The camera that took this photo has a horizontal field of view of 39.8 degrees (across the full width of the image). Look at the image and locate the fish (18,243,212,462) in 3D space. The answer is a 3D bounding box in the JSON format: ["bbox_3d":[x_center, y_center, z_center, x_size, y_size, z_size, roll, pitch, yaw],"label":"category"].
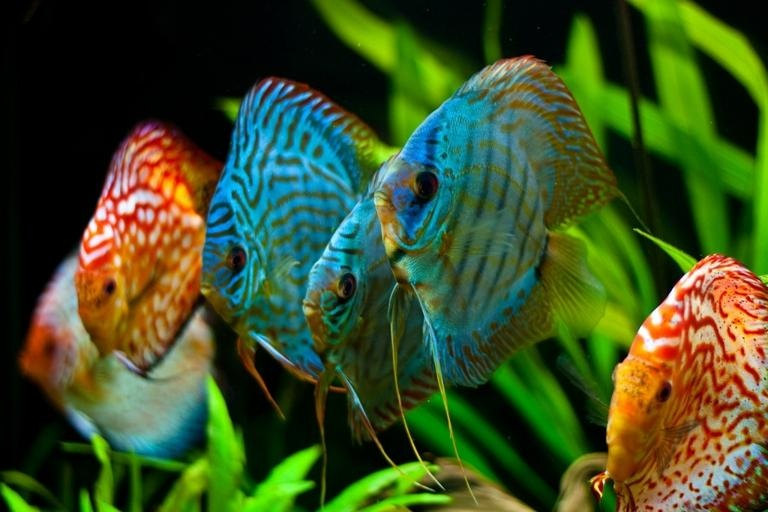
[{"bbox_3d":[-0.780,0.298,3.293,0.491,0.604,0.319,-51,3,13],"label":"fish"}]
